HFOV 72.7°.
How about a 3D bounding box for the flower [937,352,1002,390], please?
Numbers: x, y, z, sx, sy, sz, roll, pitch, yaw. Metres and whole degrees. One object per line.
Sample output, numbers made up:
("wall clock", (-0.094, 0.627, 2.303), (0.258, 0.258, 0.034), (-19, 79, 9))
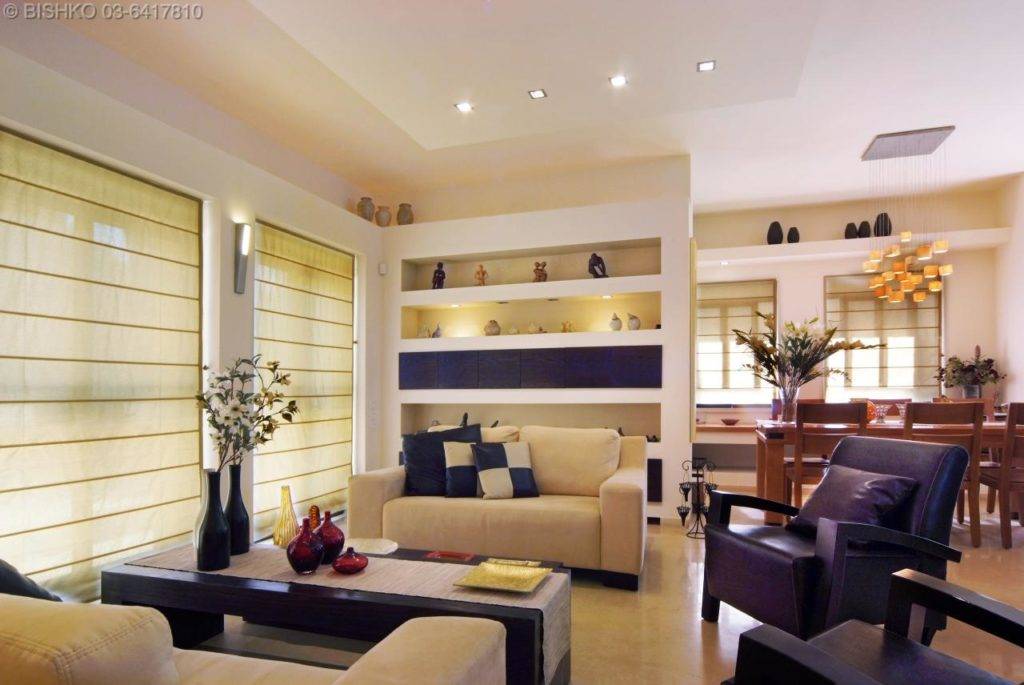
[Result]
("flower", (5.479, 0.356, 8.360), (0.477, 0.374, 0.480), (0, -2, 2))

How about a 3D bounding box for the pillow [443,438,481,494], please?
("pillow", (-0.423, 1.042, 5.746), (0.396, 0.437, 0.171), (0, -41, -14))

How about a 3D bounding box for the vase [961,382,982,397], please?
("vase", (5.488, 0.562, 8.306), (0.170, 0.166, 0.168), (-3, -8, 34))

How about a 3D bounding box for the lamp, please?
("lamp", (4.492, -1.486, 7.928), (1.054, 1.612, 0.942), (-2, 2, -43))

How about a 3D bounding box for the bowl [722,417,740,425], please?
("bowl", (2.798, 1.019, 8.895), (0.238, 0.099, 0.208), (0, -3, -6))

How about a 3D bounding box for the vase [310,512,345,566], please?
("vase", (-1.210, 1.241, 4.478), (0.237, 0.298, 0.233), (6, -3, -28))

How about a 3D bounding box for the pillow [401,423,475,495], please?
("pillow", (-0.714, 0.994, 5.835), (0.536, 0.531, 0.199), (0, -24, -1))

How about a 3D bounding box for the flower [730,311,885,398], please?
("flower", (3.509, 0.131, 8.038), (1.187, 0.706, 1.110), (0, -5, 41))
